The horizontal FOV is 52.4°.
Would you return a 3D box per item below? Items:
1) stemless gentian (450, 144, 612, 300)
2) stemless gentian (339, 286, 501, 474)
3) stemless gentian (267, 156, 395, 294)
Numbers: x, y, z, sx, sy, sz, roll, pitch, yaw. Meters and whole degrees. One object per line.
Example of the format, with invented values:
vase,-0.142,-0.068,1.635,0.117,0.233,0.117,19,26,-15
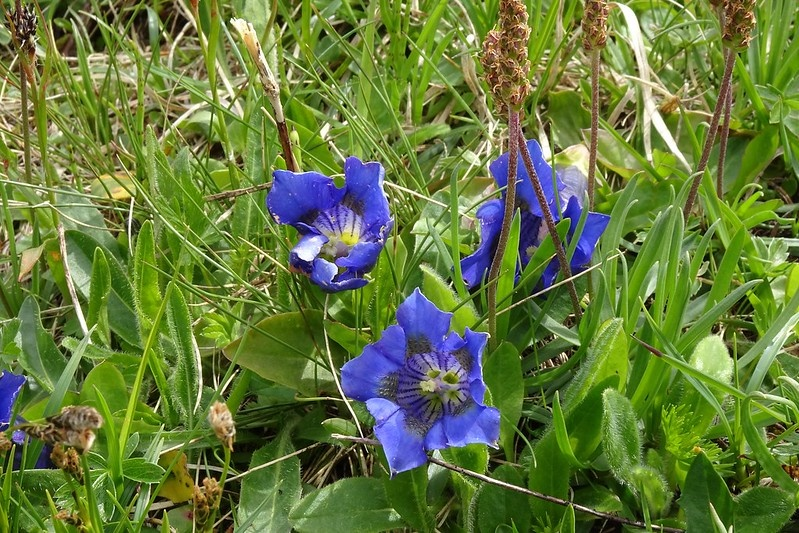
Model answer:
stemless gentian,0.412,-0.160,2.515,0.421,0.189,0.470,25,92,8
stemless gentian,0.057,0.325,2.178,0.398,0.199,0.512,0,80,-3
stemless gentian,-0.206,-0.073,2.593,0.347,0.265,0.426,26,65,5
